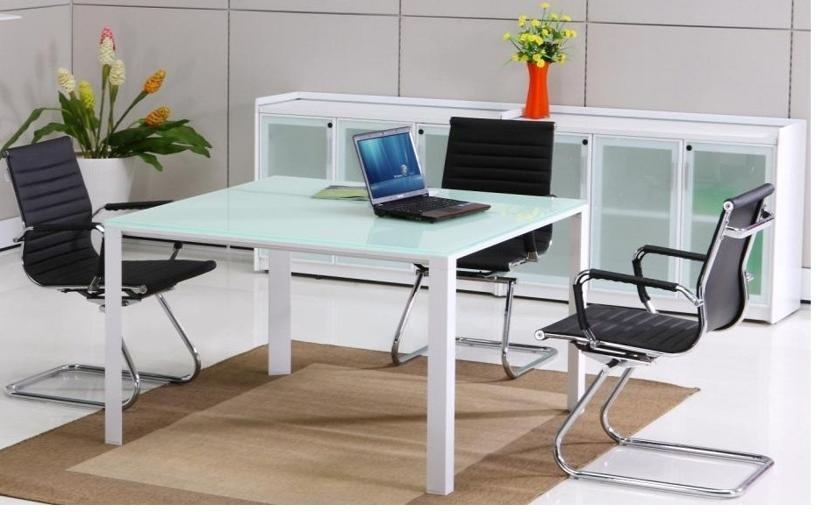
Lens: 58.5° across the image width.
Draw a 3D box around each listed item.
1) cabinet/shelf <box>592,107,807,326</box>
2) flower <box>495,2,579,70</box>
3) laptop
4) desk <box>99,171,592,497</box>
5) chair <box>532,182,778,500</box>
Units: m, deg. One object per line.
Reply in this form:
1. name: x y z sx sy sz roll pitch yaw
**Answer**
1. cabinet/shelf: 1.913 -0.268 5.616 1.801 1.370 0.636 3 -2 -24
2. flower: 1.024 -1.742 5.933 0.701 0.504 0.654 5 5 22
3. laptop: 0.081 -0.425 3.878 0.592 0.364 0.622 -11 23 -42
4. desk: -0.388 0.378 4.179 2.110 0.958 1.985 5 5 30
5. chair: 1.168 0.376 3.511 1.074 1.177 0.856 -4 -2 27
